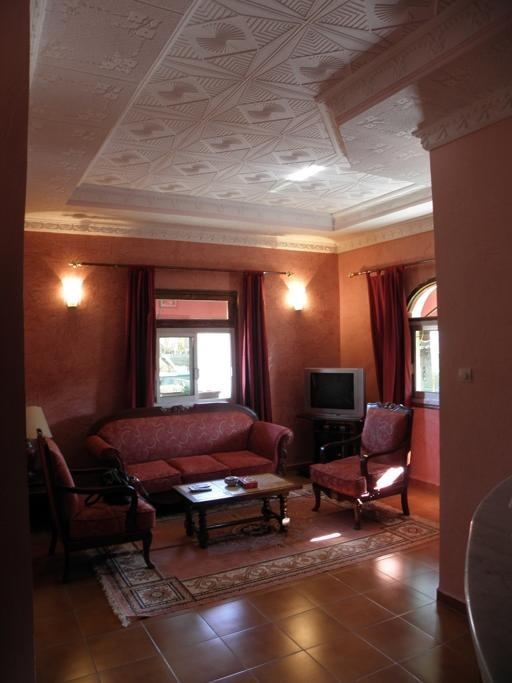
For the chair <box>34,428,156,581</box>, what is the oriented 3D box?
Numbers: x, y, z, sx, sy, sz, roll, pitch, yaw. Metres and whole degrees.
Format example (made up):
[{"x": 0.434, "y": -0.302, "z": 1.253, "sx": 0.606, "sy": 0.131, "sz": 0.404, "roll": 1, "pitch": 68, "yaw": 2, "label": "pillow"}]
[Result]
[{"x": -1.347, "y": 1.219, "z": 4.092, "sx": 1.078, "sy": 1.378, "sz": 0.947, "roll": -2, "pitch": 7, "yaw": -25, "label": "chair"}]

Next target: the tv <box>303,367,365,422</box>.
[{"x": 1.011, "y": 0.634, "z": 6.277, "sx": 1.020, "sy": 0.810, "sz": 0.535, "roll": -2, "pitch": -6, "yaw": 32, "label": "tv"}]

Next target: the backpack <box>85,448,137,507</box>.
[{"x": -1.178, "y": 1.069, "z": 3.955, "sx": 0.240, "sy": 0.290, "sz": 0.775, "roll": -1, "pitch": -3, "yaw": -18, "label": "backpack"}]

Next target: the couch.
[{"x": -0.670, "y": 1.154, "z": 5.160, "sx": 2.131, "sy": 0.865, "sz": 0.763, "roll": 1, "pitch": 2, "yaw": -32, "label": "couch"}]

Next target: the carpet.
[{"x": 0.078, "y": 1.627, "z": 3.894, "sx": 2.550, "sy": 0.020, "sz": 1.175, "roll": 0, "pitch": -2, "yaw": -29, "label": "carpet"}]

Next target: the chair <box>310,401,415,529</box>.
[{"x": 0.897, "y": 1.148, "z": 5.152, "sx": 1.042, "sy": 1.319, "sz": 1.029, "roll": 2, "pitch": -2, "yaw": -38, "label": "chair"}]
